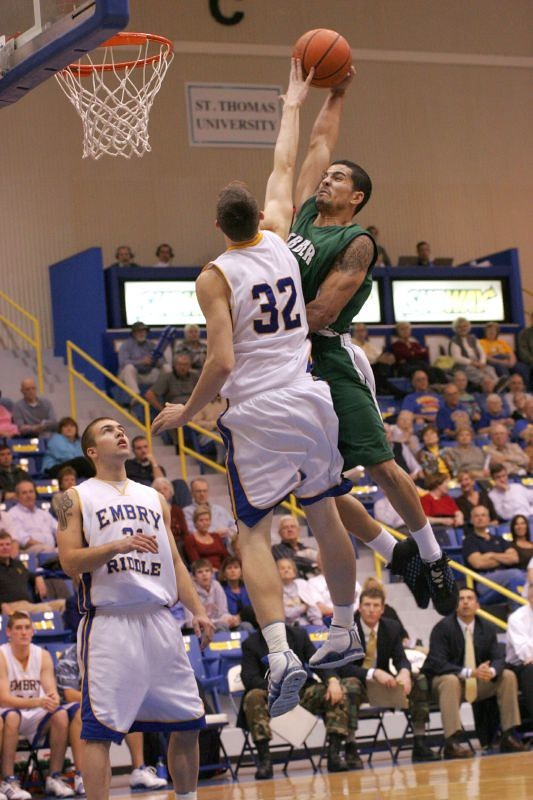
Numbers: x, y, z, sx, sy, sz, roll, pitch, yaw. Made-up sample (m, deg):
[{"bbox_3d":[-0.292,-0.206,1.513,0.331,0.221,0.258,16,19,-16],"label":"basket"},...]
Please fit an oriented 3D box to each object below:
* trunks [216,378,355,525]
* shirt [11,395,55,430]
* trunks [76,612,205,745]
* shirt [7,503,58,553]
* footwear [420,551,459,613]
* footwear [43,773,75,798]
[{"bbox_3d":[0.036,0.181,2.640,0.463,0.416,0.284,-15,7,-33],"label":"trunks"},{"bbox_3d":[-3.336,0.193,11.453,0.743,0.660,0.414,0,-10,-23],"label":"shirt"},{"bbox_3d":[-0.487,1.022,3.000,0.531,0.480,0.265,12,-28,-43],"label":"trunks"},{"bbox_3d":[-2.494,1.365,8.541,0.495,0.499,0.580,-3,-4,-21],"label":"shirt"},{"bbox_3d":[0.734,0.806,3.364,0.112,0.305,0.125,-15,4,22],"label":"footwear"},{"bbox_3d":[-1.404,2.612,5.419,0.252,0.100,0.098,-10,-14,44],"label":"footwear"}]
